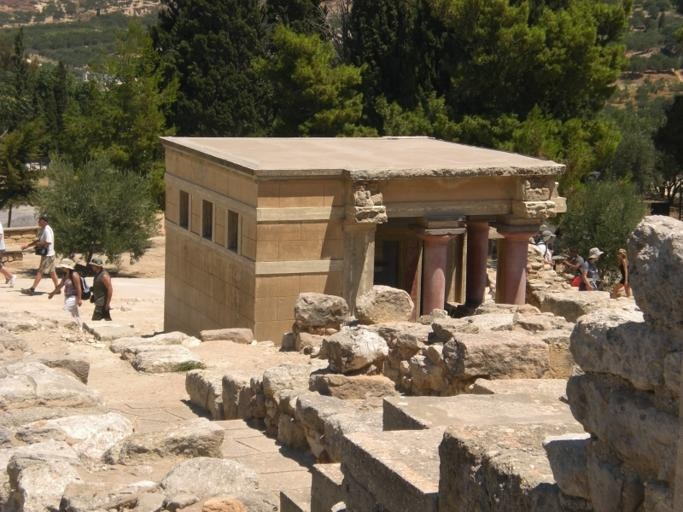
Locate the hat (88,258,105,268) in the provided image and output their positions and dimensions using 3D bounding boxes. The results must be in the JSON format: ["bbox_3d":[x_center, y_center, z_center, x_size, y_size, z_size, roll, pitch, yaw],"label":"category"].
[{"bbox_3d":[-6.486,0.179,36.387,0.366,0.155,0.372,4,6,43],"label":"hat"}]

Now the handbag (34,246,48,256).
[{"bbox_3d":[-8.513,-0.130,39.319,0.280,0.149,0.394,7,-9,-30],"label":"handbag"}]

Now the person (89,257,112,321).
[{"bbox_3d":[-6.043,0.809,34.655,0.522,1.632,2.309,2,2,-10],"label":"person"}]

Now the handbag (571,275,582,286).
[{"bbox_3d":[5.869,0.624,34.712,0.245,0.254,0.230,-6,9,-24],"label":"handbag"}]

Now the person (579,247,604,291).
[{"bbox_3d":[6.679,0.373,37.016,0.482,1.612,0.708,-2,24,2],"label":"person"}]

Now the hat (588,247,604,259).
[{"bbox_3d":[7.114,-0.089,38.744,0.334,0.129,0.342,-25,12,-1],"label":"hat"}]
